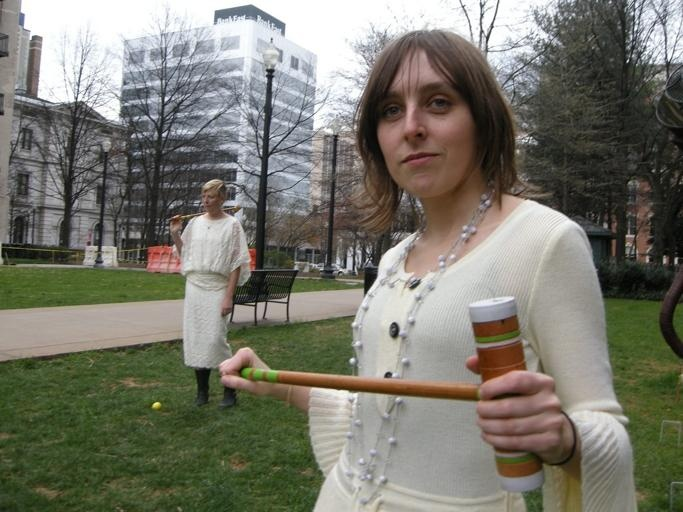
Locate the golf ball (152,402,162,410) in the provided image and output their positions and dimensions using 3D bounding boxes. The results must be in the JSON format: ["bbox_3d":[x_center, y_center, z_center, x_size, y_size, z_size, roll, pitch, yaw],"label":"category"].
[{"bbox_3d":[-1.811,1.493,5.218,0.063,0.053,0.064,4,1,0],"label":"golf ball"}]

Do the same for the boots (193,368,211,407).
[{"bbox_3d":[-1.426,1.355,5.471,0.138,0.328,0.275,2,4,-14],"label":"boots"}]

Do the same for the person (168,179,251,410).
[{"bbox_3d":[-1.430,0.329,5.772,0.928,2.672,0.983,4,5,-4],"label":"person"}]
